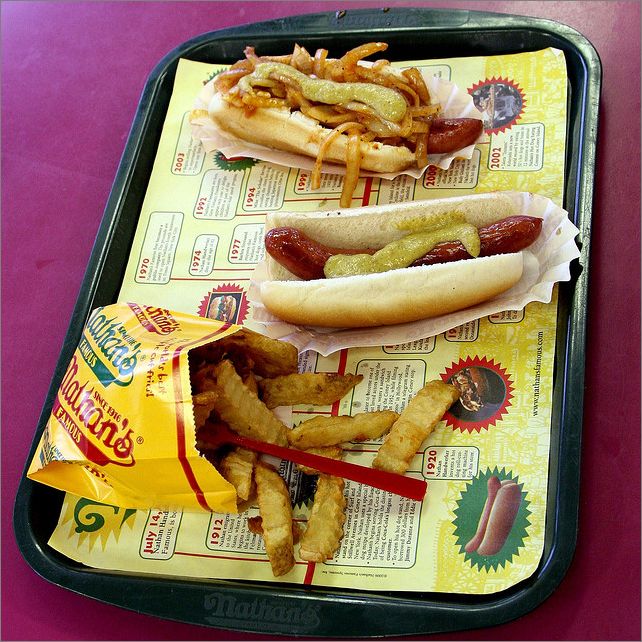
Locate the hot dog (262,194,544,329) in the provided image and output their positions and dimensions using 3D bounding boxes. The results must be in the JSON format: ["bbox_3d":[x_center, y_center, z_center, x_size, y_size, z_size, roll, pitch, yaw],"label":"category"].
[{"bbox_3d":[0.264,-0.196,2.077,0.907,0.272,0.379,-6,53,12],"label":"hot dog"}]

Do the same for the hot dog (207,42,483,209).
[{"bbox_3d":[0.054,-0.717,2.394,1.022,0.302,0.509,8,64,12],"label":"hot dog"}]
